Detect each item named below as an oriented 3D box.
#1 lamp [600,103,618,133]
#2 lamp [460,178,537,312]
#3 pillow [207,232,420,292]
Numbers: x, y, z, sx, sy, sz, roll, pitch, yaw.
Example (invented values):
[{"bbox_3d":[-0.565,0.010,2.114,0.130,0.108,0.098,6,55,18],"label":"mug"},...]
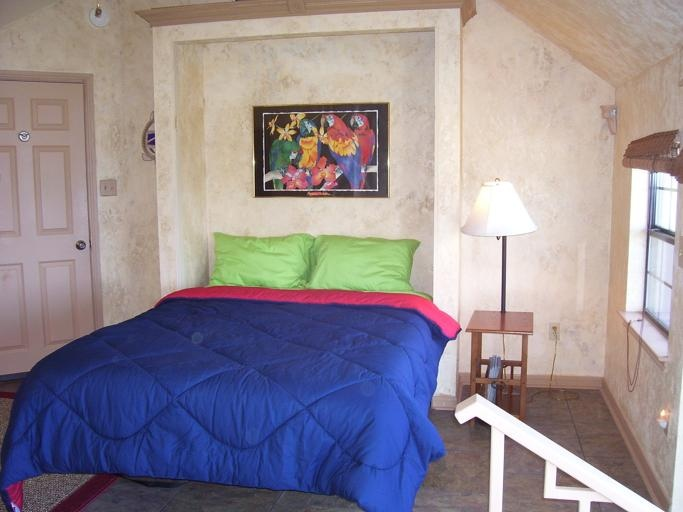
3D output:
[{"bbox_3d":[1.968,-1.002,4.166,0.116,0.197,0.072,1,5,-1],"label":"lamp"},{"bbox_3d":[1.148,-0.058,4.125,0.491,0.965,0.589,3,5,21],"label":"lamp"},{"bbox_3d":[-0.237,0.039,4.425,1.626,0.411,0.419,2,4,9],"label":"pillow"}]
